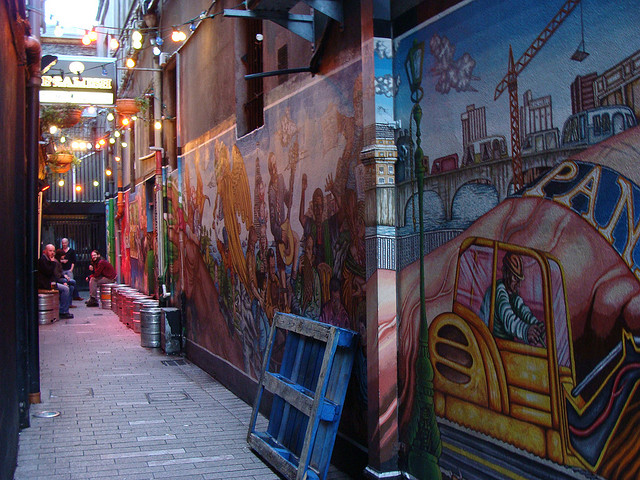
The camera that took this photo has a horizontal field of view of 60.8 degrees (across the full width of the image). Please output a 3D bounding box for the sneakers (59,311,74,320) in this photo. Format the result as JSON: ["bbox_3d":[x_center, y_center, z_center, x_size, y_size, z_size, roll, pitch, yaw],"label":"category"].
[{"bbox_3d":[-7.976,2.437,17.466,0.455,0.265,0.175,1,2,-20],"label":"sneakers"}]

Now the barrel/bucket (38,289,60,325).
[{"bbox_3d":[-8.028,1.973,16.290,0.364,1.000,1.403,0,0,-18],"label":"barrel/bucket"}]
